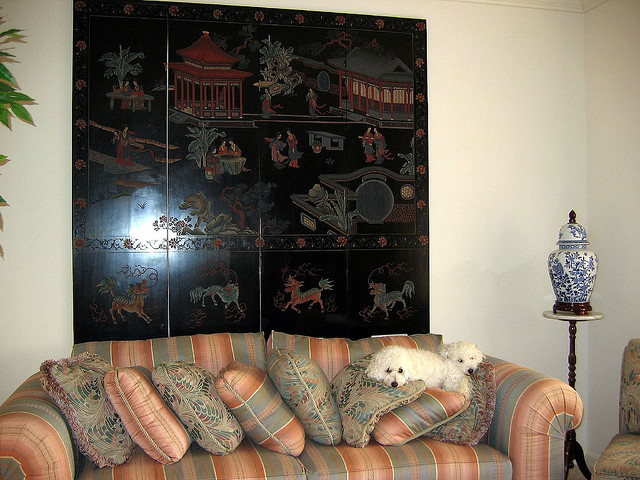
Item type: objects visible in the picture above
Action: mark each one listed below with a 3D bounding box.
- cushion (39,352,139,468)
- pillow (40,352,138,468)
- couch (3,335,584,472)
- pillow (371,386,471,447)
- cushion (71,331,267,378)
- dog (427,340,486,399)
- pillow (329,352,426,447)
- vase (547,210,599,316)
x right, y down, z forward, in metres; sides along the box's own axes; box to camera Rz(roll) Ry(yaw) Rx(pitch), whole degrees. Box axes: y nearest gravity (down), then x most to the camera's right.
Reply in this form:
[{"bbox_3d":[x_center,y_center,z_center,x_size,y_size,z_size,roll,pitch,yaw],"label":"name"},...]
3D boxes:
[{"bbox_3d":[-1.204,0.990,2.797,0.158,0.638,0.643,-29,-19,-50],"label":"cushion"},{"bbox_3d":[-1.192,0.863,2.665,0.141,0.532,0.523,-28,-10,16],"label":"pillow"},{"bbox_3d":[-0.118,0.932,2.877,2.888,0.610,0.750,1,1,-14],"label":"couch"},{"bbox_3d":[0.577,0.993,2.952,0.352,0.106,0.340,-30,23,-19],"label":"pillow"},{"bbox_3d":[-0.951,0.674,3.247,1.208,0.361,0.226,-2,38,-7],"label":"cushion"},{"bbox_3d":[0.841,0.779,3.150,0.262,0.333,0.145,27,-23,-5],"label":"dog"},{"bbox_3d":[0.245,0.872,3.125,0.577,0.179,0.552,-28,48,-23],"label":"pillow"},{"bbox_3d":[1.806,0.206,3.687,0.304,0.644,0.142,2,2,26],"label":"vase"}]
